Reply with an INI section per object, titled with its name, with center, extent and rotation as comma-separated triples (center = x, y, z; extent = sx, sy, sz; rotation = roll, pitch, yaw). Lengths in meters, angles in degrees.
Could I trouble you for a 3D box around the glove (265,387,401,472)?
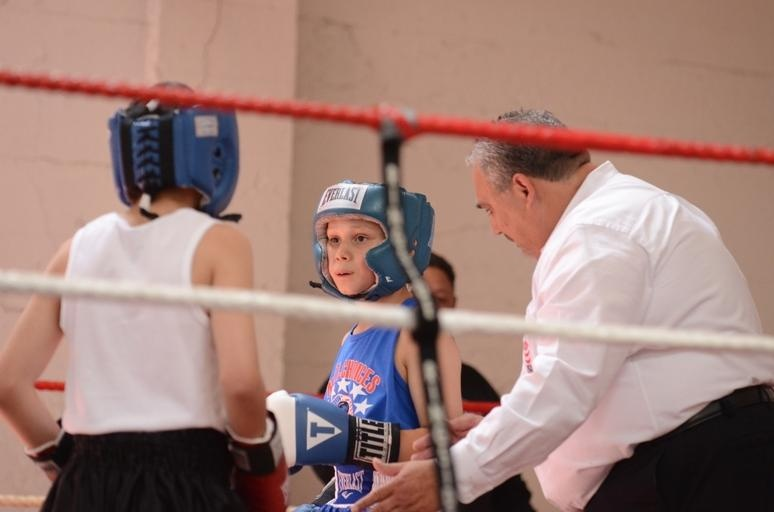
[glove]
center = -0.264, 0.549, 2.840
extent = 0.591, 0.214, 0.332
rotation = 5, -14, -2
